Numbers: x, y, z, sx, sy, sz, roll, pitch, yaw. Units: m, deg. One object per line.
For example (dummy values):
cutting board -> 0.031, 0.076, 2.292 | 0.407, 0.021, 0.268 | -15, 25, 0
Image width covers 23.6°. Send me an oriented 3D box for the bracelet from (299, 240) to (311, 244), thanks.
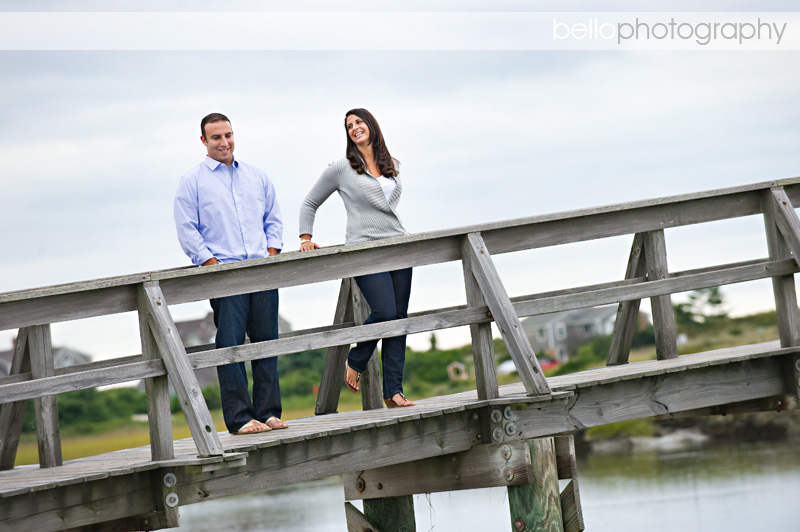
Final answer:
bracelet -> -3.053, -0.721, 61.421 | 0.308, 0.157, 0.262 | -10, -1, -4
